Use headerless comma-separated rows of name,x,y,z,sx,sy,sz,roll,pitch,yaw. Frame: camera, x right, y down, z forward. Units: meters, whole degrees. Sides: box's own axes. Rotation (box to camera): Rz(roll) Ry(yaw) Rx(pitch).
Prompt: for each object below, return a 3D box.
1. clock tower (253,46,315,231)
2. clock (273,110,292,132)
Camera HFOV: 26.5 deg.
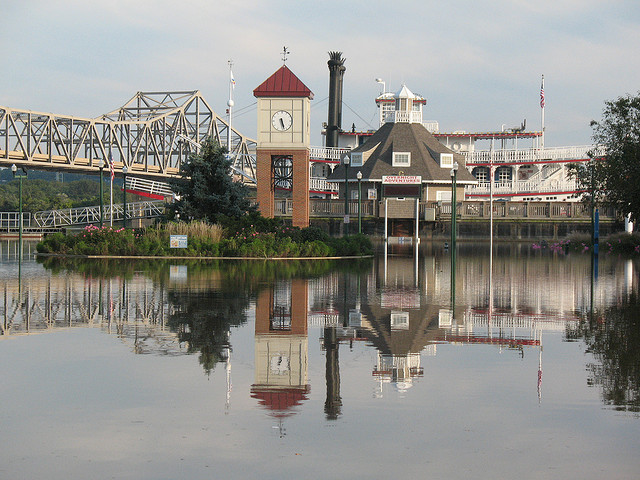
clock tower,-1.490,-3.841,54.856,2.113,6.414,1.211,0,-2,1
clock,-1.505,-4.873,54.644,0.751,0.843,0.081,-2,1,9
